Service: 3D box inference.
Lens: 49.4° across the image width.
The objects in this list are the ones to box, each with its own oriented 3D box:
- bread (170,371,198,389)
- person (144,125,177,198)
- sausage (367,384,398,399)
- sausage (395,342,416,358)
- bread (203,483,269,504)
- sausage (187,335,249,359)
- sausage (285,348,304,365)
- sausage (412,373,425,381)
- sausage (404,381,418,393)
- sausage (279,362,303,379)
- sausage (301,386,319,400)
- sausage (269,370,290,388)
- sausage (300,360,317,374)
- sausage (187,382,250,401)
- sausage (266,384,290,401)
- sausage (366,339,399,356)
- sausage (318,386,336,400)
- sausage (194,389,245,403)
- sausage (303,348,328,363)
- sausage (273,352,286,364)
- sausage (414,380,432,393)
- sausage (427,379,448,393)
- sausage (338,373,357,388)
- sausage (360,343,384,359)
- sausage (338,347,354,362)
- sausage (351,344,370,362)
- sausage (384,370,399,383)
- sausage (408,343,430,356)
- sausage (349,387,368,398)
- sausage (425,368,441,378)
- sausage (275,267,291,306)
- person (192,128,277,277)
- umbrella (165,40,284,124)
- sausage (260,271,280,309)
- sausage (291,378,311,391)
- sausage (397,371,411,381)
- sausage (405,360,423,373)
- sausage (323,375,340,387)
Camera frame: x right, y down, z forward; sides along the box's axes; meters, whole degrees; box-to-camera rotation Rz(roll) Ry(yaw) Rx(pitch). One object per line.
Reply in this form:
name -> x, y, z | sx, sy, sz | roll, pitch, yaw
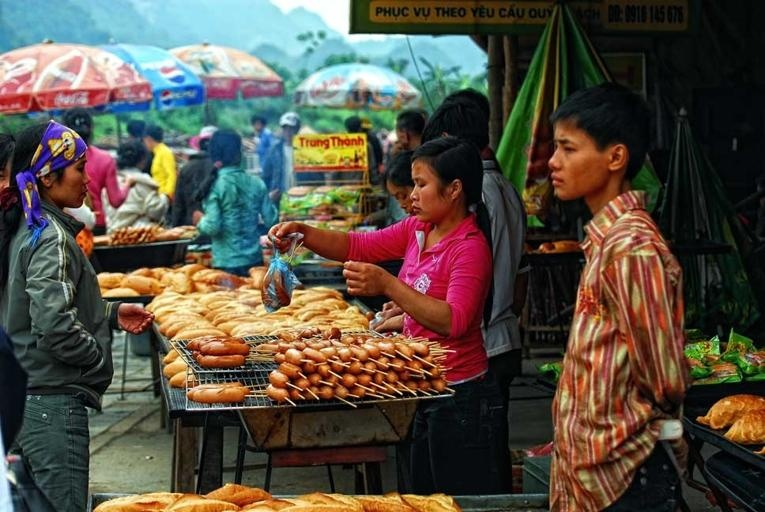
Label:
bread -> -1.187, 0.747, 4.979 | 0.144, 0.060, 0.118 | 11, 11, 27
person -> -2.800, -1.162, 10.448 | 0.357, 0.451, 1.065 | -11, 35, -9
sausage -> 0.003, 0.724, 4.515 | 0.213, 0.056, 0.054 | 15, -6, -1
sausage -> 0.119, 0.517, 4.537 | 0.109, 0.050, 0.053 | 31, 24, 36
bread -> -0.729, 1.216, 4.225 | 0.157, 0.044, 0.153 | 1, -2, 17
sausage -> -0.996, 0.541, 4.961 | 0.269, 0.069, 0.166 | 7, 12, 13
sausage -> -0.474, 0.545, 4.543 | 0.091, 0.068, 0.070 | 27, 23, 13
sausage -> 0.189, 0.667, 4.552 | 0.066, 0.025, 0.020 | -3, 1, 2
sausage -> 0.154, 0.712, 4.529 | 0.050, 0.064, 0.058 | -3, -1, 10
sausage -> -0.495, 0.630, 4.522 | 0.135, 0.068, 0.062 | 25, -28, 26
sausage -> -0.390, 0.730, 4.464 | 0.084, 0.047, 0.043 | 32, 33, 28
sausage -> -0.557, 0.659, 4.498 | 0.121, 0.060, 0.064 | 23, 56, 40
sausage -> -0.397, 0.604, 4.476 | 0.058, 0.055, 0.072 | 7, 2, -24
sausage -> -0.897, 0.754, 4.557 | 0.233, 0.060, 0.136 | 1, 0, 6
sausage -> -0.557, 0.736, 4.422 | 0.125, 0.059, 0.060 | 12, -19, 42
sausage -> -0.012, 0.503, 4.594 | 0.074, 0.060, 0.153 | 4, 5, -45
sausage -> -0.299, 0.739, 4.457 | 0.059, 0.059, 0.078 | -5, 0, -29
sausage -> -0.890, 0.763, 4.520 | 0.212, 0.060, 0.101 | -3, 7, 9
sausage -> -0.361, 0.543, 4.544 | 0.128, 0.058, 0.056 | 23, -22, 20
sausage -> -0.576, 0.573, 4.641 | 0.060, 0.050, 0.057 | 4, -14, -26
sausage -> 0.224, 0.714, 4.534 | 0.070, 0.052, 0.053 | -1, 9, 16
sausage -> 0.308, 0.714, 4.556 | 0.108, 0.057, 0.053 | -1, 7, 43
sausage -> -0.182, 0.671, 4.468 | 0.095, 0.054, 0.049 | 21, 8, 32
sausage -> -0.054, 0.521, 4.544 | 0.104, 0.052, 0.053 | 30, -4, 33
sausage -> -0.197, 0.541, 4.515 | 0.055, 0.054, 0.071 | 15, 18, -21
sausage -> -0.121, 0.530, 4.528 | 0.053, 0.051, 0.107 | -7, 21, -35
sausage -> 0.049, 0.658, 4.507 | 0.068, 0.050, 0.049 | 10, 7, -7
sausage -> 0.204, 0.513, 4.552 | 0.107, 0.053, 0.050 | 21, -22, 19
sausage -> -0.129, 0.728, 4.462 | 0.088, 0.050, 0.045 | 9, 21, 38
sausage -> 0.284, 0.642, 4.532 | 0.056, 0.054, 0.017 | 12, 10, -11
sausage -> -0.634, 0.199, 5.160 | 0.103, 0.196, 0.272 | 10, -23, -11
person -> -1.726, -0.507, 8.985 | 0.647, 2.230, 0.812 | 13, 49, -6
umbrella -> -1.895, -2.206, 10.367 | 0.888, 0.597, 0.905 | 5, 13, 18
sausage -> -0.674, 0.217, 5.075 | 0.054, 0.212, 0.130 | 1, -3, -42
sausage -> -0.443, 0.691, 4.439 | 0.072, 0.053, 0.053 | 4, -36, 5
sausage -> 0.118, 0.658, 4.533 | 0.055, 0.043, 0.042 | 11, 43, 12
sausage -> 0.169, 0.599, 4.534 | 0.046, 0.046, 0.096 | -15, 25, -40
sausage -> -0.276, 0.678, 4.476 | 0.074, 0.059, 0.062 | 5, -1, 18
